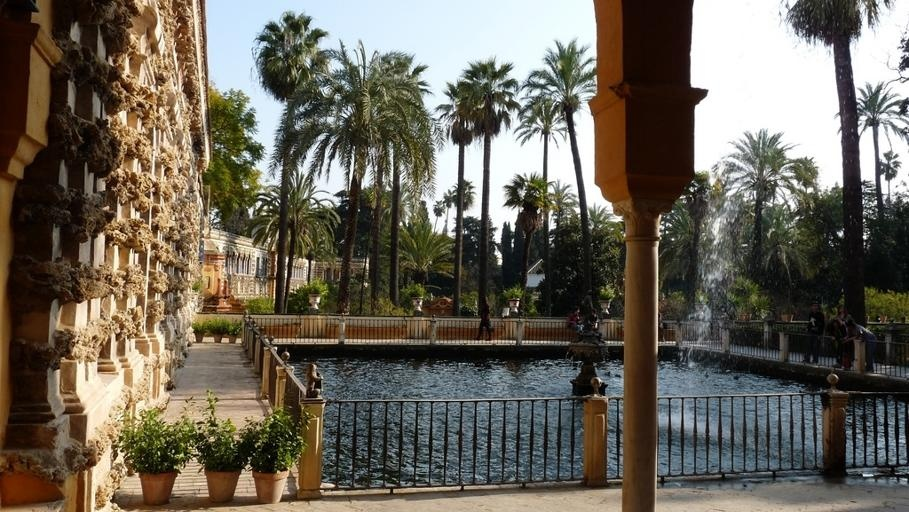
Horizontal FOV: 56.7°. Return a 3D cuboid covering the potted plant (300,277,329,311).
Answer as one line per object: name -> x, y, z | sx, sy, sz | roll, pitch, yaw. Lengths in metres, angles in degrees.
potted plant -> -6.284, 1.721, 38.375 | 1.419, 1.517, 1.257 | 2, -6, -18

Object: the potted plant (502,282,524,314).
potted plant -> 2.930, 2.034, 38.819 | 1.164, 1.293, 1.048 | 1, -6, -9

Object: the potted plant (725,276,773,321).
potted plant -> 14.280, 2.143, 40.486 | 2.108, 2.382, 2.274 | 2, 0, 8

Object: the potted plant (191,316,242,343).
potted plant -> -8.812, 2.741, 31.212 | 1.672, 0.996, 1.254 | 4, -13, -16

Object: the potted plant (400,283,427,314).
potted plant -> -1.964, 1.941, 39.793 | 1.356, 1.455, 1.205 | 1, -10, -3

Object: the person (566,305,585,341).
person -> 4.646, 2.486, 31.673 | 0.729, 1.262, 0.502 | 2, 12, 27
